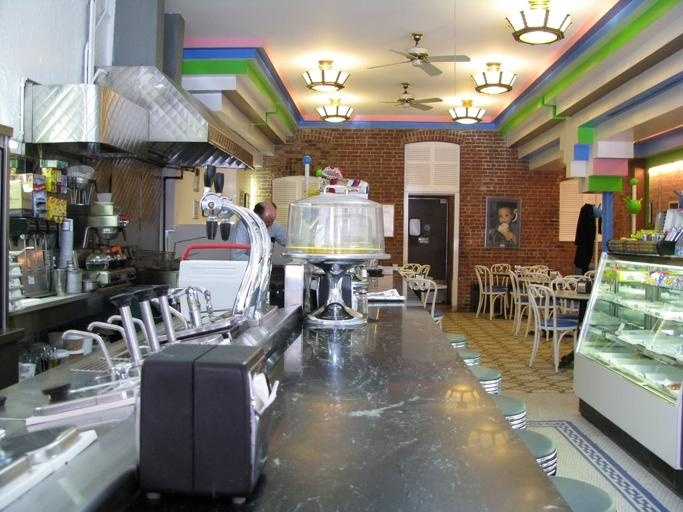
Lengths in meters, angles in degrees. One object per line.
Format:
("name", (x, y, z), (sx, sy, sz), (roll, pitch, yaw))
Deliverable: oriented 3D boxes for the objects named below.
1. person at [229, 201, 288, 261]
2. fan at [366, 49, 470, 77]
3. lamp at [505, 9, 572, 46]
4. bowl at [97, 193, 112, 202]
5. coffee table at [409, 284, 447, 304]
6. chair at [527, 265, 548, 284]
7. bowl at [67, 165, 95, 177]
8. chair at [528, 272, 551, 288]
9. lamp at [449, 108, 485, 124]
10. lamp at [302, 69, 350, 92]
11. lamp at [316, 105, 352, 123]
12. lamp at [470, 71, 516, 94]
("person", (-0.792, -0.192, 5.283), (0.712, 0.790, 0.523), (-2, 11, -18))
("fan", (0.999, -2.532, 6.331), (0.833, 0.202, 0.815), (3, 3, 23))
("lamp", (1.957, -2.282, 4.818), (0.610, 0.164, 0.586), (0, 1, 13))
("bowl", (-2.095, -0.512, 4.299), (0.098, 0.093, 0.217), (-1, 3, -29))
("coffee table", (1.185, 0.509, 6.607), (0.594, 0.229, 0.684), (2, 5, 20))
("chair", (3.235, 0.304, 8.012), (0.266, 0.313, 0.260), (-3, -9, 24))
("bowl", (-2.223, -0.722, 4.140), (0.206, 0.080, 0.172), (-4, -3, 41))
("chair", (2.896, 0.349, 7.123), (0.222, 0.242, 0.192), (0, -7, 2))
("lamp", (1.934, -2.241, 7.588), (0.374, 0.178, 0.354), (0, -3, 3))
("lamp", (-0.211, -2.397, 6.595), (0.585, 0.184, 0.547), (0, 0, -2))
("lamp", (-0.093, -2.361, 7.886), (0.498, 0.313, 0.368), (3, 4, 35))
("lamp", (1.941, -2.206, 6.293), (0.400, 0.116, 0.379), (0, -4, 3))
